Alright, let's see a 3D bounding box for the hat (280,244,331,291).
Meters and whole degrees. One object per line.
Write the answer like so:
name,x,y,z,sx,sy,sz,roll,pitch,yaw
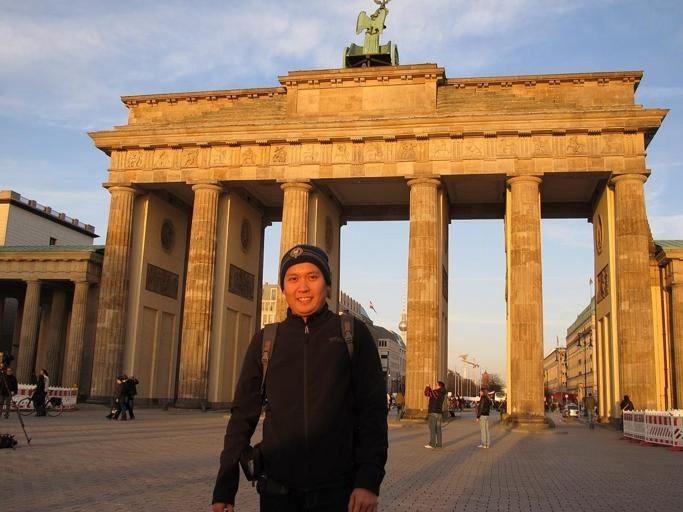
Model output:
hat,-0.248,0.063,3.868,0.263,0.286,0.351,0,-25,6
